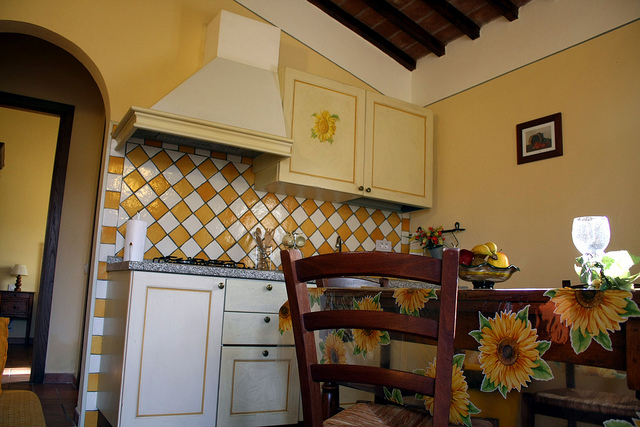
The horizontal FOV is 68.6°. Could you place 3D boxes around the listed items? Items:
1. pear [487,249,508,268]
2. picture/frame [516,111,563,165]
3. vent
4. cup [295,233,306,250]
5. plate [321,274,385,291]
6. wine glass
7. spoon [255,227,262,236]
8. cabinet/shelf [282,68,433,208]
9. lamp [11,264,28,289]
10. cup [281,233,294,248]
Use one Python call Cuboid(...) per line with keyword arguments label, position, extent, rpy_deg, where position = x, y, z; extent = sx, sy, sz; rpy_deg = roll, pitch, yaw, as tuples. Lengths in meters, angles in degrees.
Cuboid(label="pear", position=(0.763, 0.195, 2.016), extent=(0.066, 0.068, 0.095), rpy_deg=(24, -33, 38))
Cuboid(label="picture/frame", position=(1.663, -0.571, 3.576), extent=(0.321, 0.030, 0.359), rpy_deg=(-12, -50, 16))
Cuboid(label="vent", position=(-0.742, -0.957, 3.401), extent=(1.081, 1.044, 0.307), rpy_deg=(5, -11, -22))
Cuboid(label="cup", position=(-0.145, 0.209, 3.768), extent=(0.075, 0.092, 0.099), rpy_deg=(6, -18, -20))
Cuboid(label="plate", position=(0.179, 0.396, 2.679), extent=(0.256, 0.067, 0.273), rpy_deg=(1, -5, 0))
Cuboid(label="wine glass", position=(1.050, 0.097, 1.820), extent=(0.125, 0.172, 0.097), rpy_deg=(-5, -11, 29))
Cuboid(label="spoon", position=(-0.481, 0.137, 3.677), extent=(0.055, 0.031, 0.092), rpy_deg=(3, 6, -7))
Cuboid(label="cabinet/shelf", position=(0.284, -0.563, 4.025), extent=(1.457, 0.924, 0.486), rpy_deg=(9, -12, -27))
Cuboid(label="lamp", position=(-4.918, 1.037, 7.706), extent=(0.231, 0.431, 0.422), rpy_deg=(7, -12, -33))
Cuboid(label="cup", position=(-0.248, 0.218, 3.735), extent=(0.100, 0.101, 0.081), rpy_deg=(-5, -3, 5))
